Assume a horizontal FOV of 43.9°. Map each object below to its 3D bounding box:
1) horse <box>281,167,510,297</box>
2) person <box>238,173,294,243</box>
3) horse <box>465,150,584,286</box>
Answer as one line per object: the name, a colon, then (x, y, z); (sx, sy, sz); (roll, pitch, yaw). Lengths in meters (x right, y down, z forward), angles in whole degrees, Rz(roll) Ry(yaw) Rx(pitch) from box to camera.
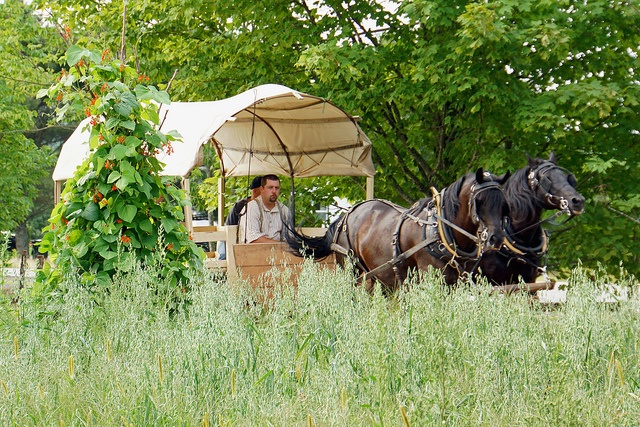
horse: (1.171, 0.629, 11.551); (1.201, 2.170, 3.840); (-11, 7, -43)
person: (-0.830, -0.024, 12.976); (0.771, 1.183, 1.093); (0, 4, -10)
horse: (2.822, 0.083, 11.123); (0.523, 1.958, 0.980); (12, 15, -37)
